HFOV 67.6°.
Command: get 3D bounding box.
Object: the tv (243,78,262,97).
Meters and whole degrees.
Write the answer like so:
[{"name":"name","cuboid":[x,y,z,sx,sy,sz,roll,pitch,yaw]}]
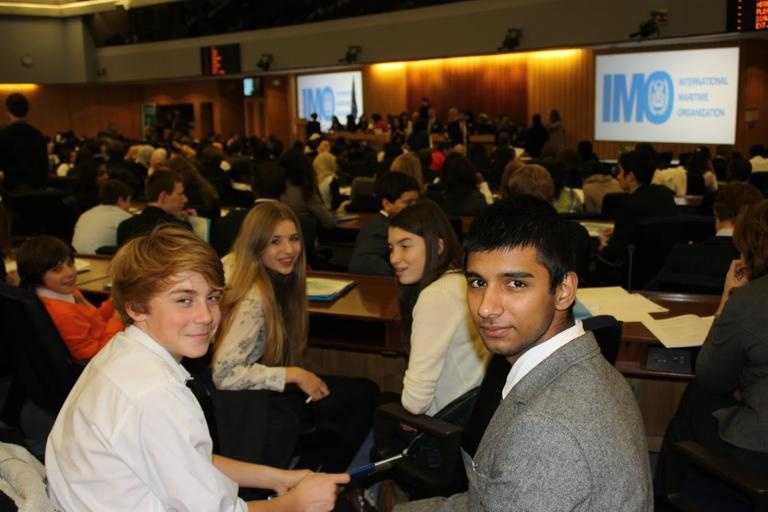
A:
[{"name":"tv","cuboid":[-4.152,-5.425,18.350,0.552,0.421,0.076,10,15,35]}]
